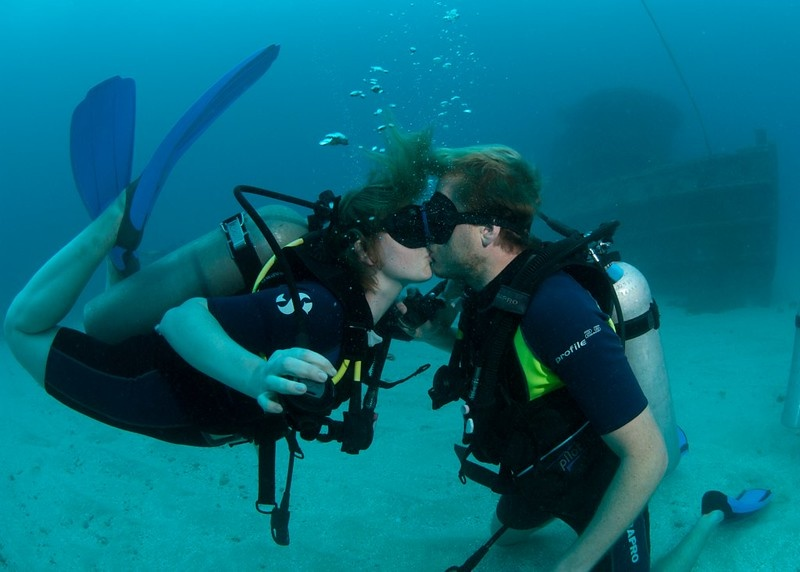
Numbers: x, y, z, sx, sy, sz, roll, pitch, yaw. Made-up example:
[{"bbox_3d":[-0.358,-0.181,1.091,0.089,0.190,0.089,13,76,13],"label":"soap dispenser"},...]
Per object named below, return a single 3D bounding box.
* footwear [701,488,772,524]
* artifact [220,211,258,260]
[{"bbox_3d":[4.975,3.250,11.014,1.320,0.479,0.326,-7,17,-23],"label":"footwear"},{"bbox_3d":[-2.312,-0.755,10.434,0.376,0.588,0.599,-24,-22,-15],"label":"artifact"}]
